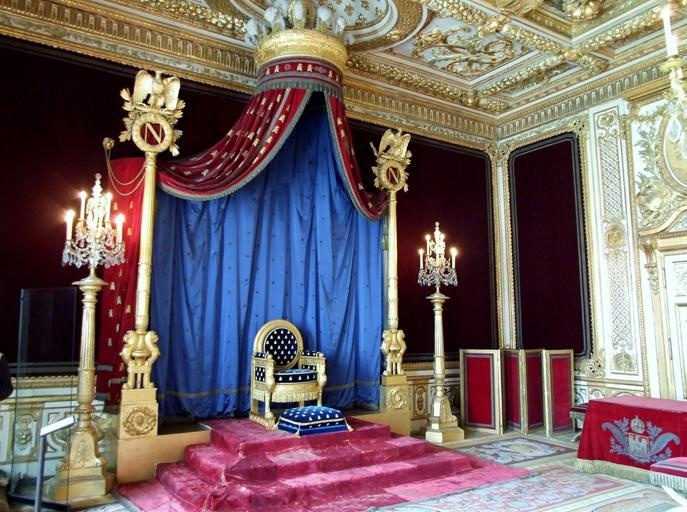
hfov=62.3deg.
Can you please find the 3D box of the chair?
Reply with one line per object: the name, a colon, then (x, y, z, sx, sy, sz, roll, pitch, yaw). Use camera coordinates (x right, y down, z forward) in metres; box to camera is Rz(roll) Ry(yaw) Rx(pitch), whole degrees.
chair: (-0.696, 1.420, 6.811, 0.818, 1.073, 0.906, 0, 12, -25)
